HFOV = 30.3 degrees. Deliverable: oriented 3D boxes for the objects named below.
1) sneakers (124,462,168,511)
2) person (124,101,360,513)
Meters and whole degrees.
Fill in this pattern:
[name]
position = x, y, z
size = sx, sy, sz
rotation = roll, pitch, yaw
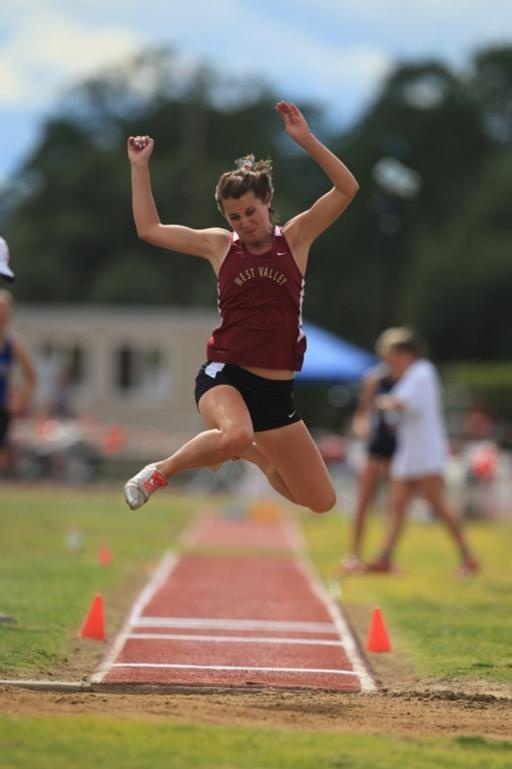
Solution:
[sneakers]
position = -0.465, 0.419, 3.945
size = 0.203, 0.169, 0.091
rotation = -40, -4, -3
[person]
position = -0.052, -0.265, 3.994
size = 0.992, 1.864, 0.684
rotation = 0, 9, -7
